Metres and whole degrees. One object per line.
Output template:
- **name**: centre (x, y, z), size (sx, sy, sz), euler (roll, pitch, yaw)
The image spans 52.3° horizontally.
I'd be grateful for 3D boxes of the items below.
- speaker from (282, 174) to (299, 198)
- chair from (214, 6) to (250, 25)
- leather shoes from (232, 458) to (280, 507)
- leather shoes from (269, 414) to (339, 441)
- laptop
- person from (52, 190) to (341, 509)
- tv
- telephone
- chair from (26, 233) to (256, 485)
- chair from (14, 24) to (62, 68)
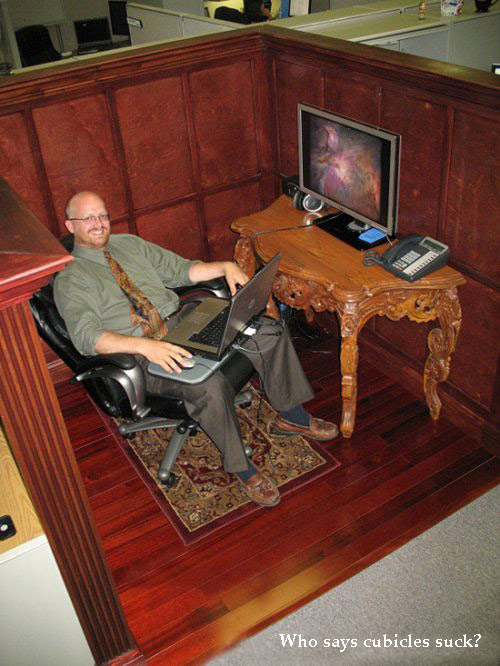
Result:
- **speaker**: centre (0.238, -0.776, 2.736), size (0.059, 0.135, 0.107), euler (-10, 21, -39)
- **chair**: centre (-0.213, -3.473, 5.570), size (0.336, 0.193, 0.504), euler (-10, 30, -4)
- **leather shoes**: centre (0.006, 0.616, 2.195), size (0.116, 0.084, 0.266), euler (-30, 41, -27)
- **leather shoes**: centre (0.269, 0.466, 2.489), size (0.273, 0.092, 0.126), euler (0, 31, 11)
- **laptop**: centre (-0.191, -0.107, 2.139), size (0.333, 0.440, 0.444), euler (25, 36, 10)
- **person**: centre (-0.239, 0.101, 2.246), size (1.264, 0.954, 0.768), euler (26, 55, 22)
- **tv**: centre (0.449, -0.694, 2.252), size (0.209, 0.549, 0.640), euler (-32, 54, -16)
- **telephone**: centre (0.665, -0.306, 2.062), size (0.228, 0.079, 0.218), euler (-35, 40, -16)
- **chair**: centre (-0.378, 0.067, 2.183), size (0.797, 0.910, 0.683), euler (1, 32, 25)
- **chair**: centre (-2.362, -3.156, 5.585), size (0.431, 0.376, 0.444), euler (-22, 33, -24)
